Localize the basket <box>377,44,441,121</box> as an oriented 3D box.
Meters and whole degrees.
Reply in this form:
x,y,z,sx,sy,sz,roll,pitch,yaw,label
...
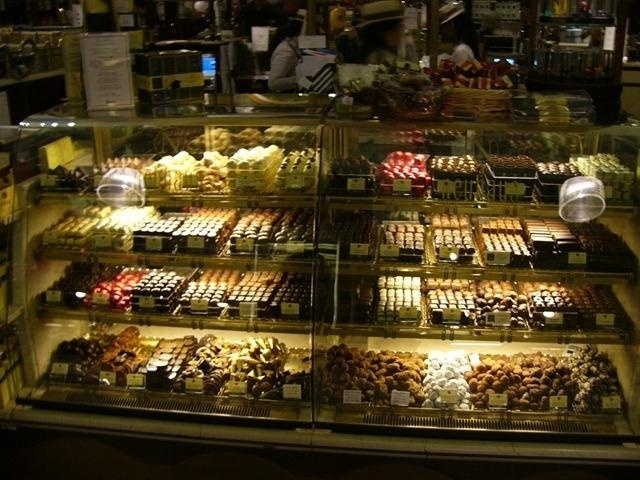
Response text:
x,y,z,sx,sy,sz,roll,pitch,yaw,label
0.505,-0.842,3.015,0.409,0.311,0.247,7,18,20,basket
